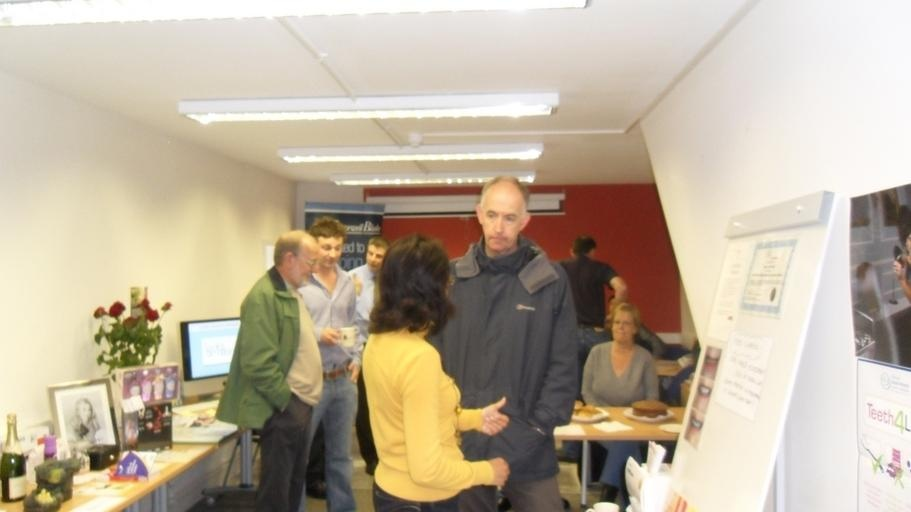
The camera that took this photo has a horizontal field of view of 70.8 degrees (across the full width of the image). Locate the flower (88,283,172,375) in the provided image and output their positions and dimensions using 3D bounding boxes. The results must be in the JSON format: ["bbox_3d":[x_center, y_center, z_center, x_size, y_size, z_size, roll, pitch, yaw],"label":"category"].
[{"bbox_3d":[-2.669,0.622,5.294,0.466,0.533,0.380,3,15,-38],"label":"flower"}]

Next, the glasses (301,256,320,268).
[{"bbox_3d":[-1.143,0.044,5.003,0.090,0.085,0.026,1,6,-7],"label":"glasses"}]

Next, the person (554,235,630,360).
[{"bbox_3d":[1.764,0.813,8.155,1.001,2.074,0.747,4,11,39],"label":"person"}]

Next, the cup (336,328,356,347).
[{"bbox_3d":[-0.889,0.668,5.276,0.112,0.151,0.161,-1,-4,4],"label":"cup"}]

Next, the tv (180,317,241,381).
[{"bbox_3d":[-2.258,0.893,6.116,0.833,0.560,0.067,-8,-9,23],"label":"tv"}]

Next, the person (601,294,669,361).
[{"bbox_3d":[2.027,0.828,7.218,0.692,0.682,0.266,-5,-18,-19],"label":"person"}]

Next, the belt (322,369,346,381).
[{"bbox_3d":[-1.015,0.994,5.372,0.198,0.082,0.026,3,-5,-40],"label":"belt"}]

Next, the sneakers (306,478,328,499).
[{"bbox_3d":[-1.354,2.284,6.267,0.166,0.208,0.203,-1,-6,-5],"label":"sneakers"}]

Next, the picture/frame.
[{"bbox_3d":[-2.593,1.131,4.452,0.444,0.525,0.074,-16,-1,-42],"label":"picture/frame"}]
